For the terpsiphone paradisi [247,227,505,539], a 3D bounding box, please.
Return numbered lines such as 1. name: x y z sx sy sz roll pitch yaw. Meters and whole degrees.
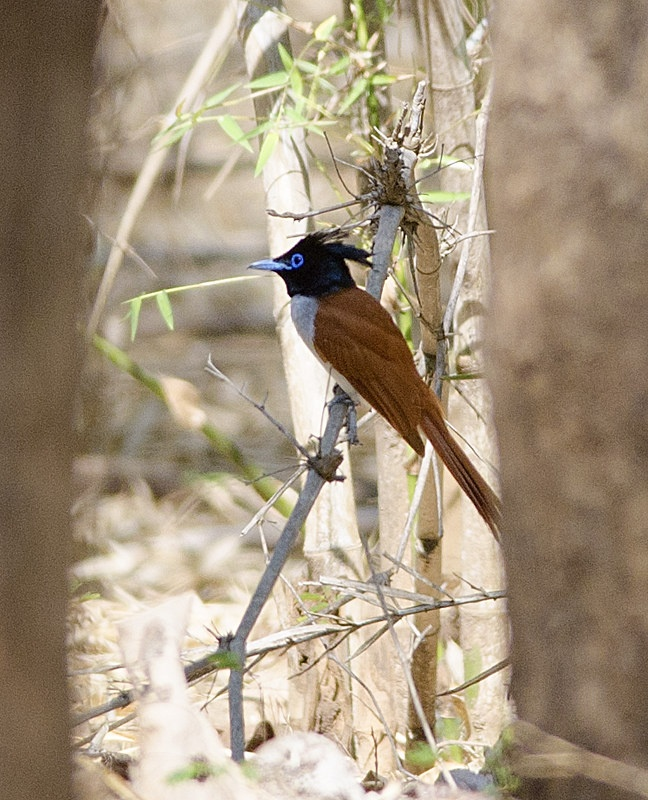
1. terpsiphone paradisi: 0.061 -0.017 1.577 0.204 0.474 0.233 -19 -47 11
